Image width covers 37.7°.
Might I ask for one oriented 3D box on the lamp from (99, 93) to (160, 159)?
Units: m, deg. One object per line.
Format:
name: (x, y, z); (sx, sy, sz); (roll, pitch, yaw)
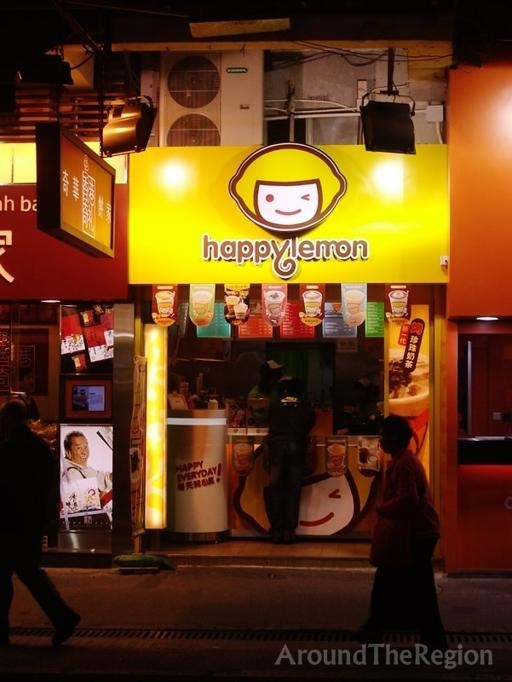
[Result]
lamp: (-1.134, -1.897, 6.664); (0.353, 0.553, 0.320); (-3, -10, 24)

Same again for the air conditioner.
air conditioner: (-0.450, -2.493, 7.791); (1.167, 1.077, 0.398); (0, -5, 1)

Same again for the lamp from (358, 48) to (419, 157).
lamp: (1.181, -2.213, 6.568); (0.497, 0.130, 1.178); (8, -41, 15)

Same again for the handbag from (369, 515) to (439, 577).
handbag: (0.950, 1.327, 5.005); (0.398, 0.400, 0.249); (-7, -26, 12)

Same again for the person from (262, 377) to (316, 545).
person: (0.350, 1.266, 8.005); (0.526, 1.696, 0.439); (-1, -2, 3)
